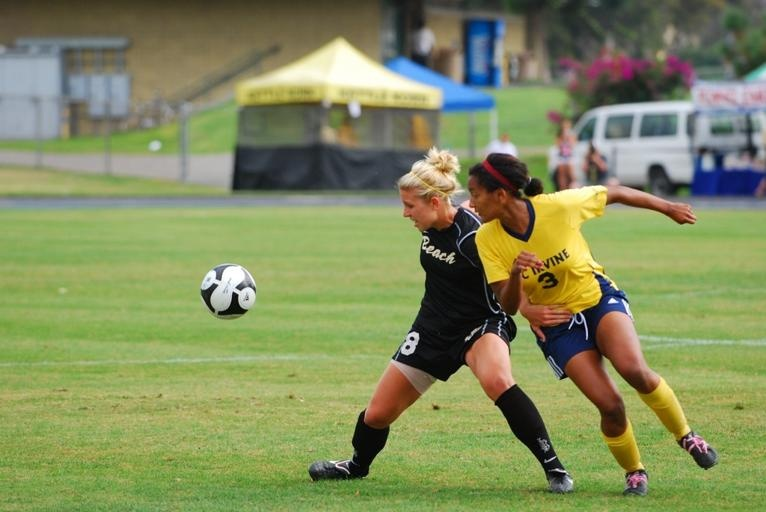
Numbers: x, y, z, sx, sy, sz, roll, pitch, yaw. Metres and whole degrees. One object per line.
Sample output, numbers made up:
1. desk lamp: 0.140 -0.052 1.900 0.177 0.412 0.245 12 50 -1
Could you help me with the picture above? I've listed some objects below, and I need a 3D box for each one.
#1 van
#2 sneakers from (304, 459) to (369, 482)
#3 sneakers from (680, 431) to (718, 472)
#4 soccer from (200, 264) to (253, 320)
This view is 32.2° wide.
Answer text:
1. van: 6.440 -2.570 30.451 4.345 1.925 2.161 9 12 40
2. sneakers: -0.404 1.947 12.054 0.475 0.195 0.210 6 -5 -7
3. sneakers: 2.799 1.745 11.868 0.432 0.200 0.224 45 3 31
4. soccer: -1.596 0.350 13.927 0.575 0.521 0.543 2 -20 -5
